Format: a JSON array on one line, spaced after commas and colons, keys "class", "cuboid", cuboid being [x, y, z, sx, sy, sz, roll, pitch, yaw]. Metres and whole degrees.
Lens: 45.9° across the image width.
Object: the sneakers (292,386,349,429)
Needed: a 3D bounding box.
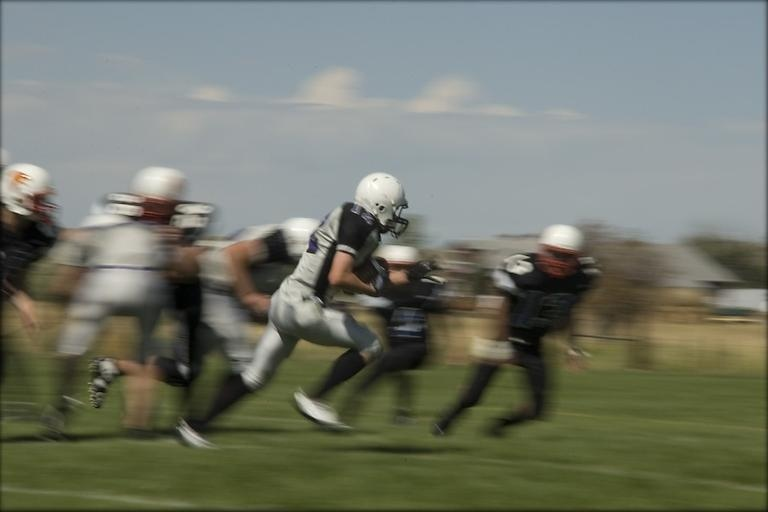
[{"class": "sneakers", "cuboid": [-0.551, 1.239, 7.373, 0.504, 0.143, 0.237, 20, 18, 6]}]
